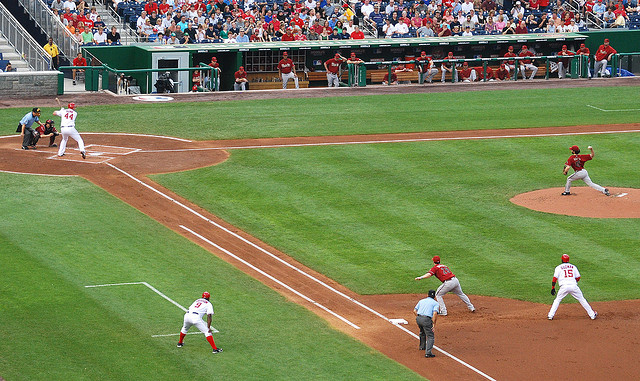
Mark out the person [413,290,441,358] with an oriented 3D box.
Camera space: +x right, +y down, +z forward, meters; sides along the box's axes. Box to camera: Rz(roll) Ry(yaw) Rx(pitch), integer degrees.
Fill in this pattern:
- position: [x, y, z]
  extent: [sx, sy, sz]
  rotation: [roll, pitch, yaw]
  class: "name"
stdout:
- position: [3.481, 4.358, 30.874]
  extent: [0.748, 2.136, 0.657]
  rotation: [-1, 11, 2]
  class: "person"
